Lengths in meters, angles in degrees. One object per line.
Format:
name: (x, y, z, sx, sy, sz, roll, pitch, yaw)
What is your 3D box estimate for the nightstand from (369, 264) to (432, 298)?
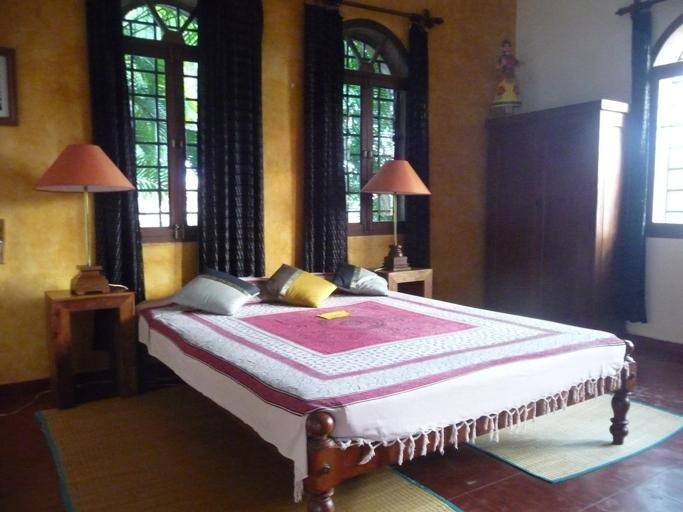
nightstand: (0.587, 0.191, 5.277, 0.351, 0.357, 0.351, -2, 3, -31)
